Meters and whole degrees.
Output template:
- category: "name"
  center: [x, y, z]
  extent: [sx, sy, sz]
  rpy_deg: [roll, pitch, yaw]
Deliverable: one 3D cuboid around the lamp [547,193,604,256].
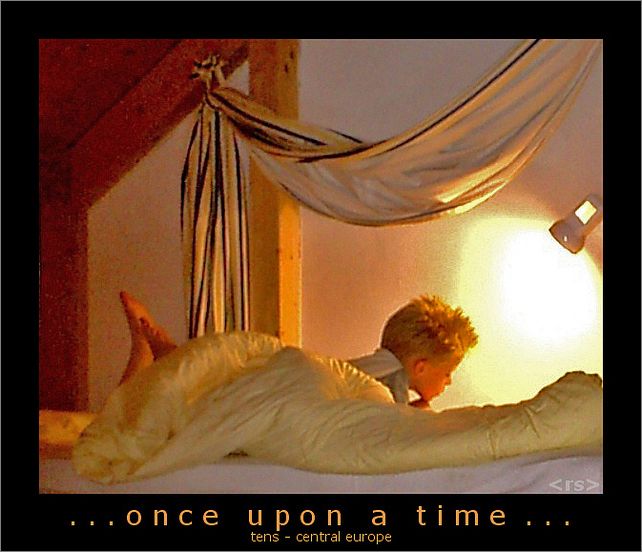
- category: "lamp"
  center: [0.855, -0.178, 4.298]
  extent: [0.210, 0.129, 0.047]
  rpy_deg: [-45, -13, -15]
